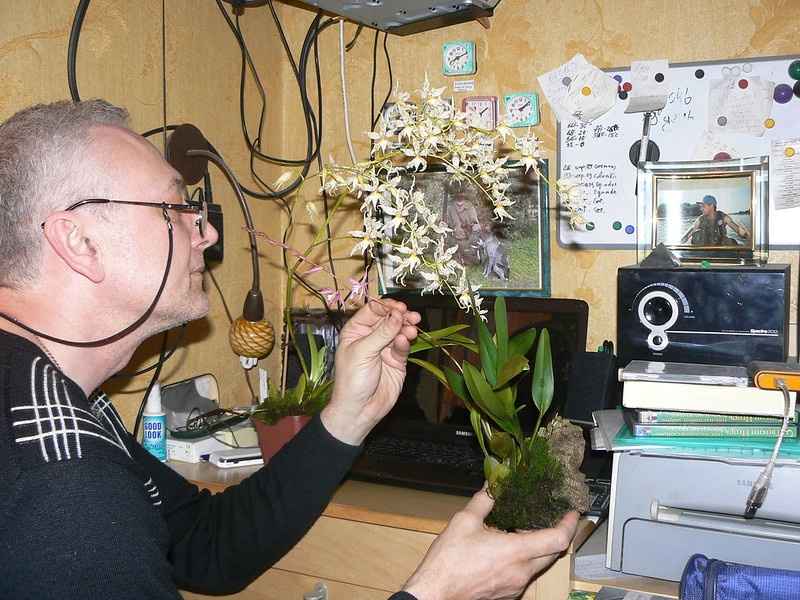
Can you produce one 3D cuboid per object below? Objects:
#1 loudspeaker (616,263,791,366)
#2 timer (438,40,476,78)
[{"bbox_3d":[0.653,0.041,1.510,0.333,0.224,0.066,1,9,18],"label":"loudspeaker"},{"bbox_3d":[0.163,-0.673,1.898,0.110,0.106,0.041,1,2,29],"label":"timer"}]
